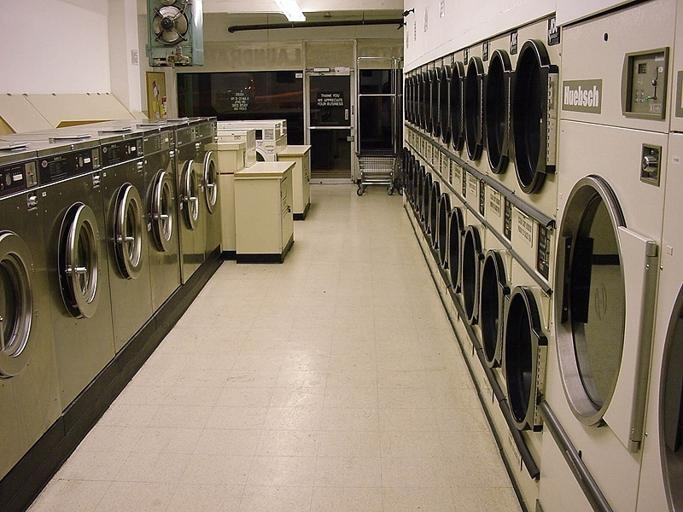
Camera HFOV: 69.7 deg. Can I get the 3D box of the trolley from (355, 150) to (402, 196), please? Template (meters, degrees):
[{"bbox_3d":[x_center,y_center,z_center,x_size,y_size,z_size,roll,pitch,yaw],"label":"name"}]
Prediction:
[{"bbox_3d":[0.858,-1.859,11.492,0.872,0.834,0.878,0,4,2],"label":"trolley"}]
